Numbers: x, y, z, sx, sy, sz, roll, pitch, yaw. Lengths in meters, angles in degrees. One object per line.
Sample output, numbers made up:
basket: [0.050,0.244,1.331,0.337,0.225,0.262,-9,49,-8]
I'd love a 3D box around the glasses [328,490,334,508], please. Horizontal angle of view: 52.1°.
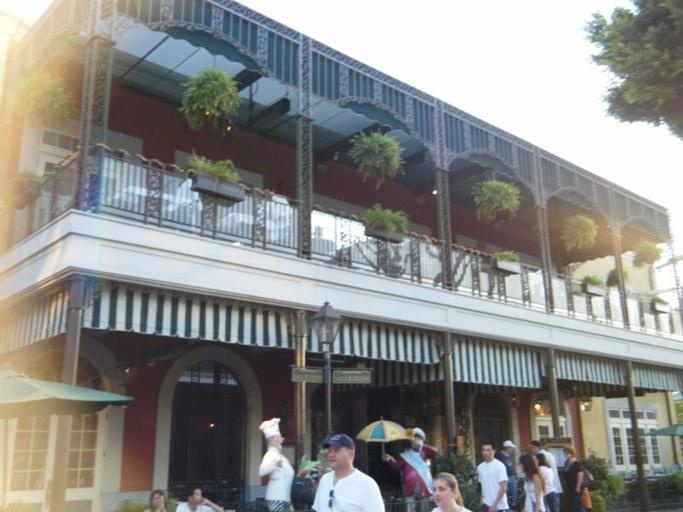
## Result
glasses: [-0.119,2.661,7.684,0.045,0.178,0.049,7,-5,-25]

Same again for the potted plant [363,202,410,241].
potted plant: [0.902,-0.857,15.071,1.002,0.742,0.757,12,-18,-36]

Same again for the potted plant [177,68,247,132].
potted plant: [-2.772,-3.319,14.586,1.094,1.170,1.125,8,-21,-4]

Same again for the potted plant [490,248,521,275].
potted plant: [4.039,0.082,17.161,1.024,0.685,0.270,13,-27,-34]

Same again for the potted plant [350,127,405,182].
potted plant: [0.828,-2.514,16.771,0.879,0.883,0.892,-36,-14,-11]

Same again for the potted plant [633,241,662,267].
potted plant: [9.757,-0.153,22.314,0.875,0.882,0.539,-14,-25,24]
